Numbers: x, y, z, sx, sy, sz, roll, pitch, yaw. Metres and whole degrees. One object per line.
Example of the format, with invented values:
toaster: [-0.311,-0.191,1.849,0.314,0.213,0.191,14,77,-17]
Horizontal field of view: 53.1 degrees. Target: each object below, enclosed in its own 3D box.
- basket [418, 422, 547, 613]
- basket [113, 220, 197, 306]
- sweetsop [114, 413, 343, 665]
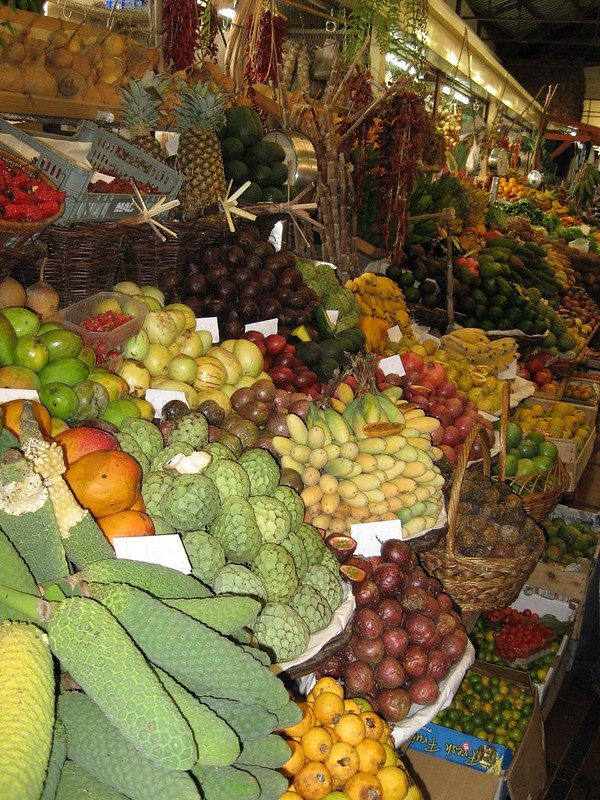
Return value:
basket: [0.789,0.538,2.735,0.619,0.670,0.606,2,11,37]
basket: [-0.747,-0.760,3.101,0.482,0.297,0.391,13,23,22]
sweetsop: [-0.153,0.330,1.740,0.451,0.287,0.735,48,8,-8]
